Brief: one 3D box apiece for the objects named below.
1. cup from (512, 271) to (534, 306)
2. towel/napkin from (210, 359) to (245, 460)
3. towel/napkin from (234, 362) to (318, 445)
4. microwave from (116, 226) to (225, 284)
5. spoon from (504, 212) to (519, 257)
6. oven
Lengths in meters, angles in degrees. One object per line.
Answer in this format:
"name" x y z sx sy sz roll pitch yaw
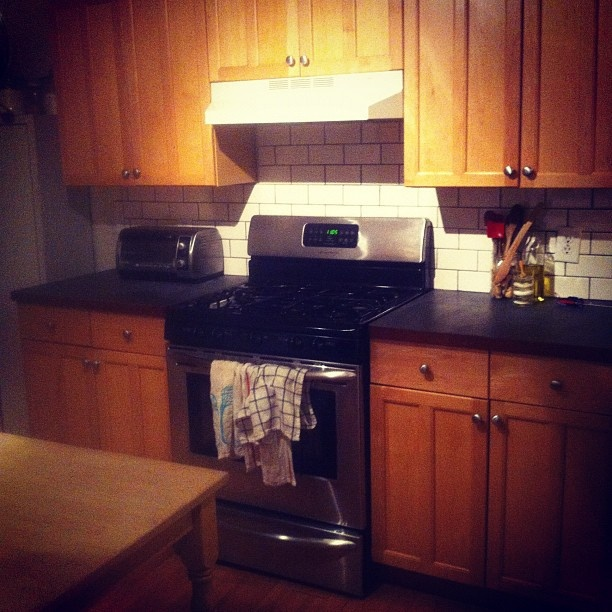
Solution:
"cup" 0.828 -0.071 2.322 0.082 0.128 0.093 2 9 26
"towel/napkin" -0.296 0.376 2.235 0.072 0.318 0.204 5 -6 -41
"towel/napkin" -0.102 0.368 2.170 0.285 0.303 0.174 1 9 18
"microwave" -0.702 -0.258 3.043 0.541 0.265 0.232 0 9 12
"spoon" 0.815 -0.288 2.376 0.075 0.200 0.031 -4 8 -14
"oven" -0.053 0.563 2.665 0.882 1.271 0.775 2 6 22
